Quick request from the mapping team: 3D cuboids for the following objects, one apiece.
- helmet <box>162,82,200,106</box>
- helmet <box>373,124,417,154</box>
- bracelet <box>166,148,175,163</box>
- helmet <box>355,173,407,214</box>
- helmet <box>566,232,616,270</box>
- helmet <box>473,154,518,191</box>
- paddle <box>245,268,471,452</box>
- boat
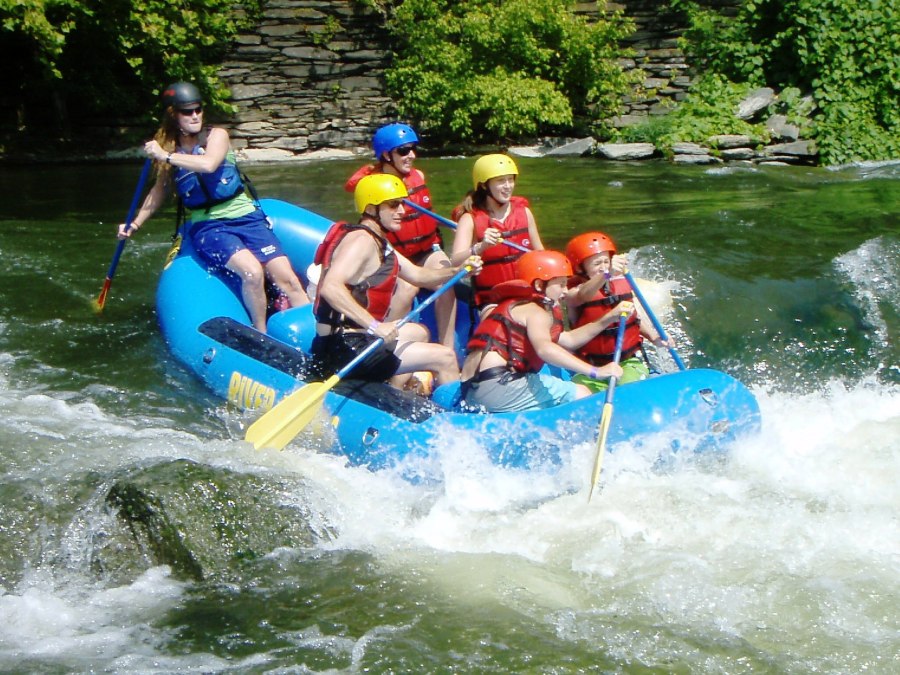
[{"bbox_3d":[-2.142,-1.929,8.250,0.262,0.186,0.187,25,42,15],"label":"helmet"},{"bbox_3d":[-0.438,-1.602,8.369,0.335,0.187,0.239,5,23,12],"label":"helmet"},{"bbox_3d":[-2.210,-1.430,8.158,0.049,0.111,0.112,11,-8,-25],"label":"bracelet"},{"bbox_3d":[-0.472,-1.012,7.364,0.360,0.227,0.257,14,7,5],"label":"helmet"},{"bbox_3d":[1.054,-0.653,7.661,0.354,0.244,0.274,-12,-8,43],"label":"helmet"},{"bbox_3d":[0.359,-1.256,7.837,0.303,0.203,0.234,17,18,30],"label":"helmet"},{"bbox_3d":[-0.601,0.202,7.346,1.731,0.292,0.072,-32,-9,-14],"label":"paddle"},{"bbox_3d":[-0.402,0.317,7.390,3.556,0.700,1.902,18,28,29],"label":"boat"}]
